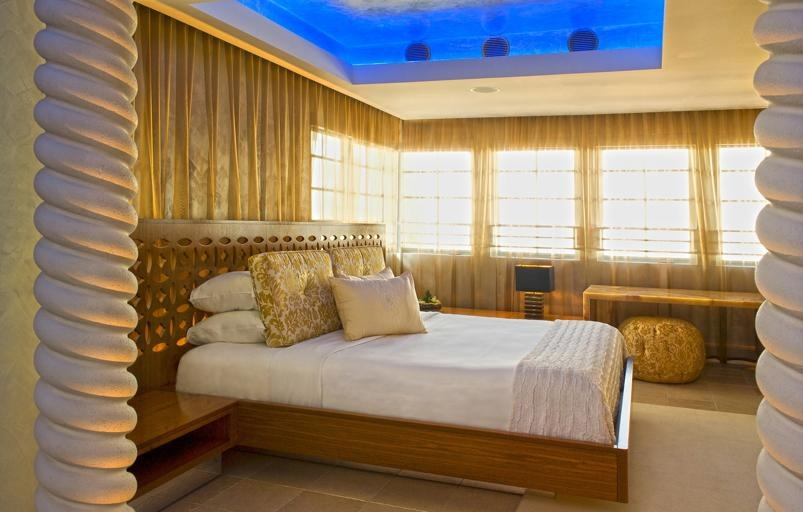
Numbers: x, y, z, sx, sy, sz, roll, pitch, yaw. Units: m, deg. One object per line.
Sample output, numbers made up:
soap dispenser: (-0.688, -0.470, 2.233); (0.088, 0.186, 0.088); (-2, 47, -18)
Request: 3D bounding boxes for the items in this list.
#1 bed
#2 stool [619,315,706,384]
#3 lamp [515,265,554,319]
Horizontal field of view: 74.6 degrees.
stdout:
bed: (0.152, 0.819, 3.021); (1.442, 0.313, 1.399); (0, -1, 17)
stool: (2.582, 0.897, 5.206); (0.908, 0.578, 0.815); (-4, -2, 20)
lamp: (1.490, 0.391, 5.857); (0.390, 0.593, 0.544); (1, 6, 17)
